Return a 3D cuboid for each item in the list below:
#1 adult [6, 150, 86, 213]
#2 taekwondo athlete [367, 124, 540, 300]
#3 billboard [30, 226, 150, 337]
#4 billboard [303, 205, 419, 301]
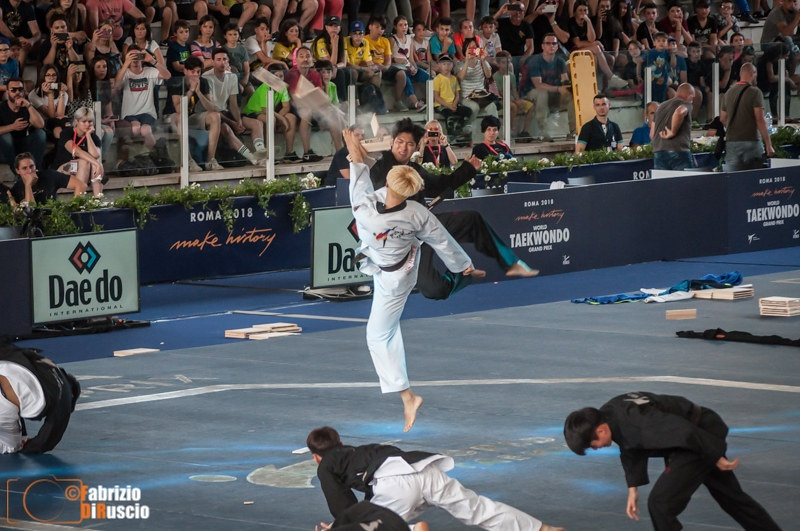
[{"bbox_3d":[-5.932,-1.426,22.024,0.949,0.864,2.298,2,14,9],"label":"adult"},{"bbox_3d":[0.624,-0.705,17.019,1.874,2.305,1.374,-12,18,6],"label":"taekwondo athlete"},{"bbox_3d":[-4.907,0.296,20.124,0.756,1.559,2.059,8,9,38],"label":"billboard"},{"bbox_3d":[-1.066,-0.180,22.342,0.937,1.548,1.676,1,5,35],"label":"billboard"}]
